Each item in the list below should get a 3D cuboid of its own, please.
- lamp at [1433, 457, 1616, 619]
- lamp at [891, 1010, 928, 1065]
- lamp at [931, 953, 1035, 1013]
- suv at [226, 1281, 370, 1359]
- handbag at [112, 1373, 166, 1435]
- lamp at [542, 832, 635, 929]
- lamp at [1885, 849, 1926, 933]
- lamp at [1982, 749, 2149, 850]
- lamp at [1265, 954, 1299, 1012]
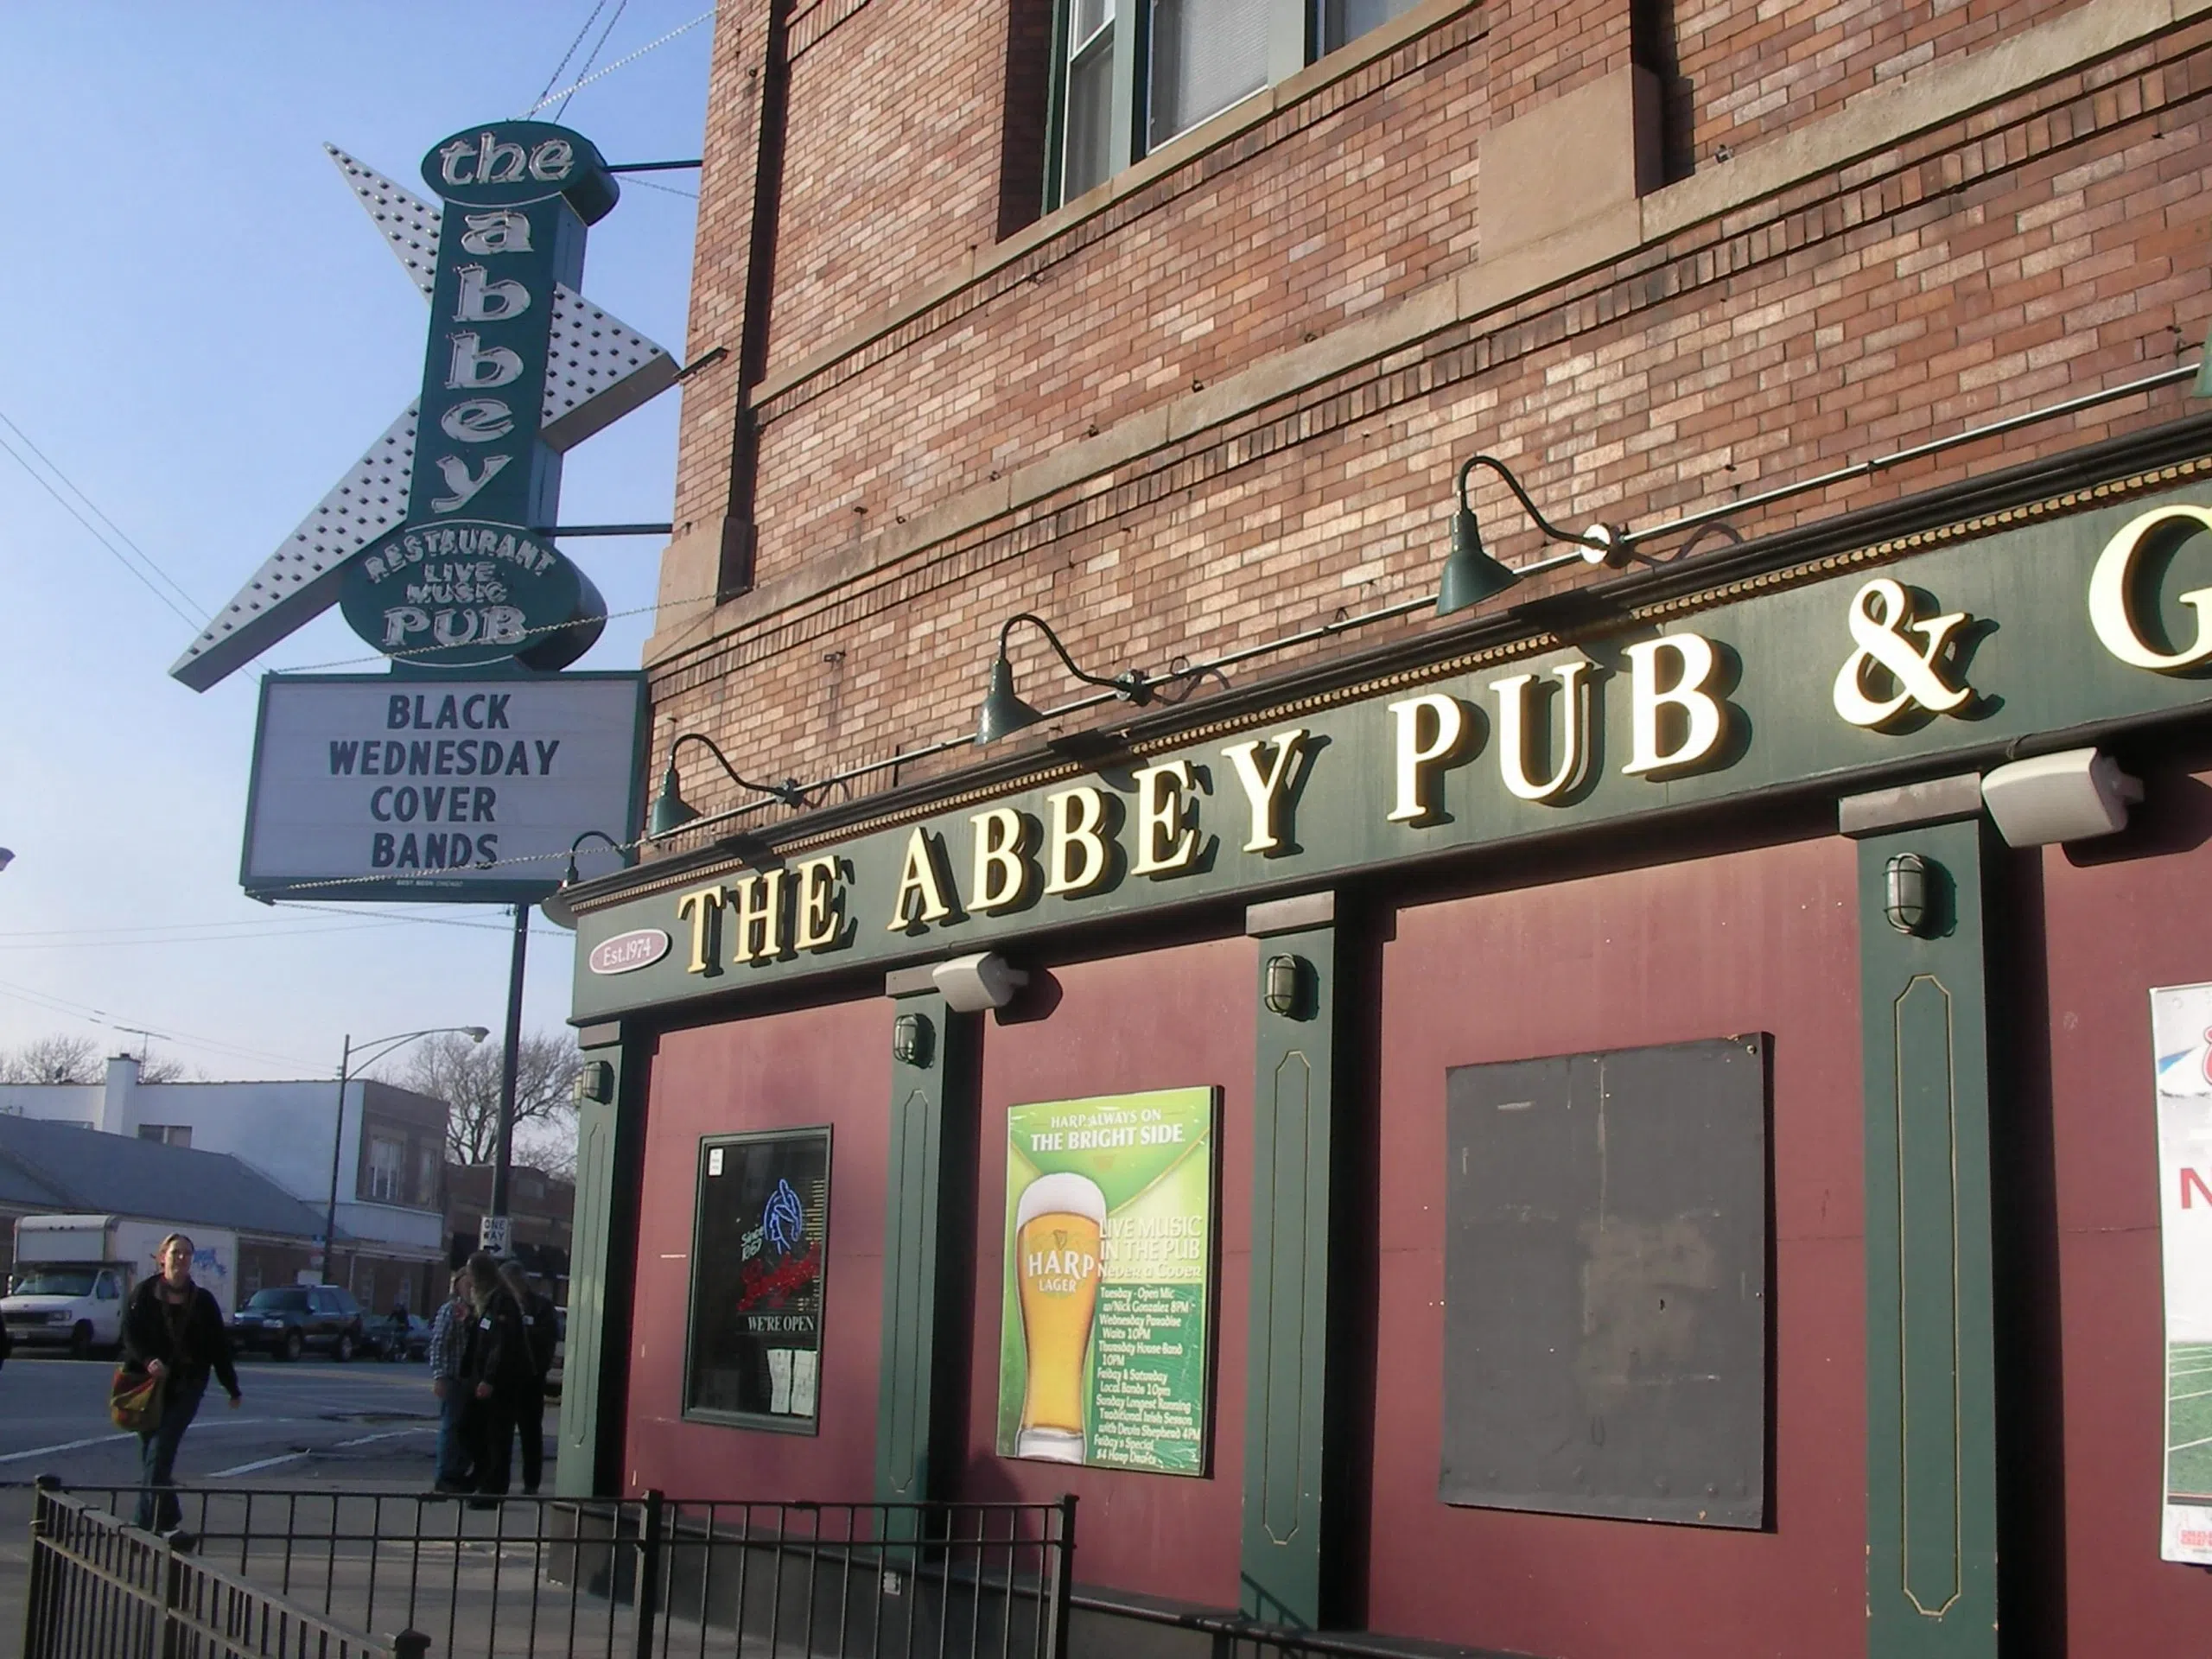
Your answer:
[{"bbox_3d":[1.675,-1.231,9.325,0.930,0.739,0.457,-9,2,-29],"label":"lamp"},{"bbox_3d":[-1.040,1.102,11.580,0.087,0.290,0.310,13,-19,-36],"label":"lamp"},{"bbox_3d":[-0.679,0.801,11.324,0.301,0.249,0.527,15,-21,-37],"label":"lamp"},{"bbox_3d":[-15.319,9.361,41.796,1.113,1.380,3.395,-2,-17,12],"label":"suv"},{"bbox_3d":[-5.583,3.302,12.692,0.312,0.334,0.175,-10,-19,35],"label":"handbag"},{"bbox_3d":[-3.839,0.381,16.432,0.483,0.581,0.573,-2,-25,3],"label":"lamp"},{"bbox_3d":[2.911,0.234,8.089,0.085,0.299,0.145,12,-18,-33],"label":"lamp"},{"bbox_3d":[3.325,-0.100,7.810,0.432,0.328,0.318,-8,-29,42],"label":"lamp"},{"bbox_3d":[0.765,0.700,9.856,0.104,0.278,0.166,8,-16,-21],"label":"lamp"}]
